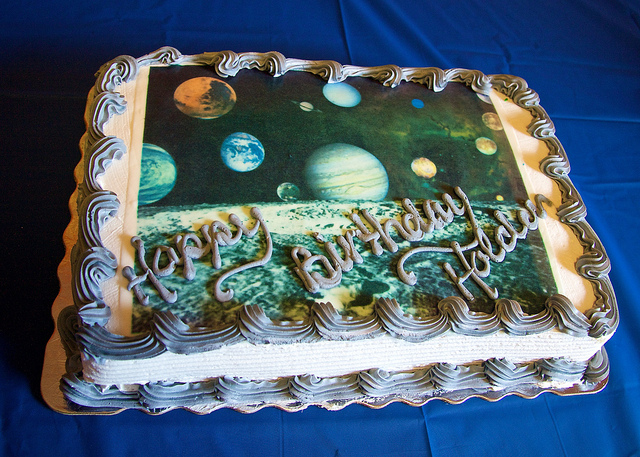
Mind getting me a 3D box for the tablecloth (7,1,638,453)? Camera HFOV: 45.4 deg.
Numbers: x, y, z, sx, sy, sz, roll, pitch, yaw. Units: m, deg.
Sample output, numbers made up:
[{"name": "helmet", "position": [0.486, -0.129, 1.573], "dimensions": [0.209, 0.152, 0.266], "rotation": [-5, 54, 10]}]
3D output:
[{"name": "tablecloth", "position": [-0.147, 0.095, 6.538], "dimensions": [5.233, 0.634, 3.703], "rotation": [0, 63, -9]}]
